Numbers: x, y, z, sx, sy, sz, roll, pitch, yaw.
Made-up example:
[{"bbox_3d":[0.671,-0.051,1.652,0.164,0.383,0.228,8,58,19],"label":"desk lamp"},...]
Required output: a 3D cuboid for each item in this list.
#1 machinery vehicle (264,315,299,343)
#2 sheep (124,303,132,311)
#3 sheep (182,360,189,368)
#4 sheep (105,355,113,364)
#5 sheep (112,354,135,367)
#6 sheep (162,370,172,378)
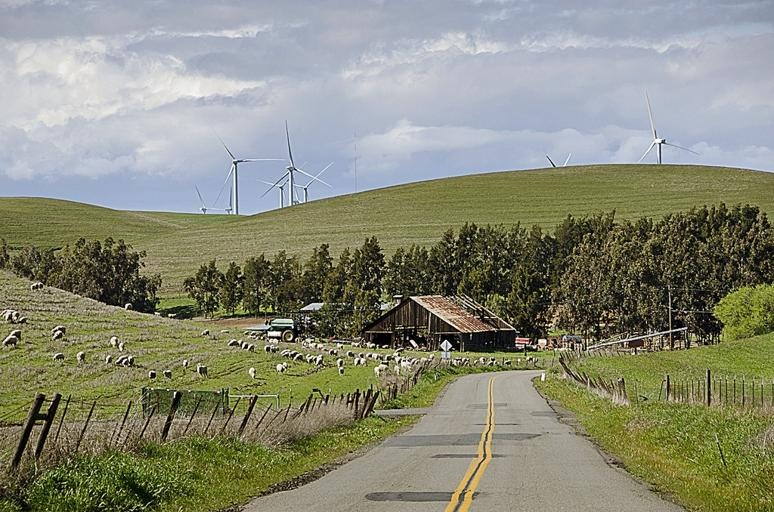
[{"bbox_3d":[-14.073,9.845,115.340,3.857,2.081,2.615,-2,0,17],"label":"machinery vehicle"},{"bbox_3d":[-39.212,7.750,132.177,0.766,1.117,0.976,-4,14,-27],"label":"sheep"},{"bbox_3d":[-18.095,9.738,78.575,0.602,0.643,1.253,2,-5,-14],"label":"sheep"},{"bbox_3d":[-24.560,9.150,76.807,0.612,0.685,0.641,2,-16,1],"label":"sheep"},{"bbox_3d":[-22.740,9.315,76.698,2.362,1.376,0.692,2,-5,12],"label":"sheep"},{"bbox_3d":[-18.809,10.155,74.682,0.977,0.548,0.408,7,2,38],"label":"sheep"}]
